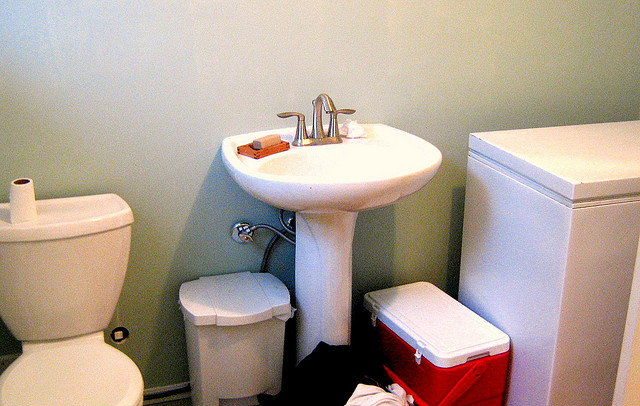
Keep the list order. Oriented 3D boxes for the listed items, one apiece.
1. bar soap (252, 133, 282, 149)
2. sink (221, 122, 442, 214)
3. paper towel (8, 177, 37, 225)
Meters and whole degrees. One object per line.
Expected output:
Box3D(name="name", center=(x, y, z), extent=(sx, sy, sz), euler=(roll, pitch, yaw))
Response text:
Box3D(name="bar soap", center=(-0.210, -0.240, 2.003), extent=(0.098, 0.035, 0.054), euler=(-30, 34, -35))
Box3D(name="sink", center=(0.042, -0.141, 1.985), extent=(0.808, 0.239, 0.548), euler=(-8, 19, -11))
Box3D(name="paper towel", center=(-1.085, -0.010, 1.875), extent=(0.094, 0.136, 0.087), euler=(12, 19, 4))
